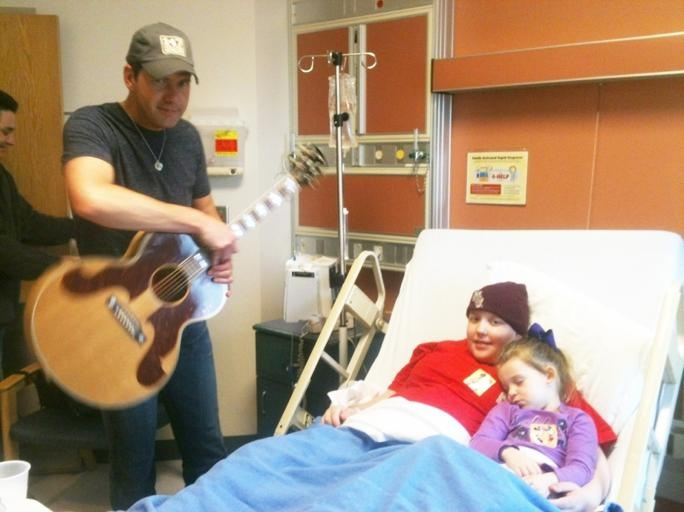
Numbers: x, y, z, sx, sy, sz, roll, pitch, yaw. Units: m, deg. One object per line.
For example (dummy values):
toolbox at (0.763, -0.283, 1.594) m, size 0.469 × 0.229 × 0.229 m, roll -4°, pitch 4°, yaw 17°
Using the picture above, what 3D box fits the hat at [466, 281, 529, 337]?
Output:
hat at (0.597, 0.184, 2.096) m, size 0.180 × 0.153 × 0.181 m, roll 18°, pitch -9°, yaw -20°

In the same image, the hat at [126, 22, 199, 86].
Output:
hat at (-0.631, -0.712, 1.971) m, size 0.174 × 0.150 × 0.247 m, roll -14°, pitch 34°, yaw -42°

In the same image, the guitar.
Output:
guitar at (-0.703, 0.073, 2.339) m, size 1.481 × 0.600 × 0.165 m, roll -45°, pitch 26°, yaw -28°
